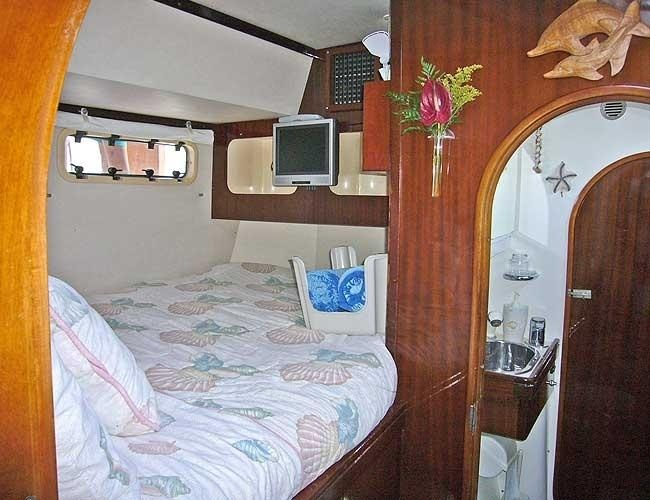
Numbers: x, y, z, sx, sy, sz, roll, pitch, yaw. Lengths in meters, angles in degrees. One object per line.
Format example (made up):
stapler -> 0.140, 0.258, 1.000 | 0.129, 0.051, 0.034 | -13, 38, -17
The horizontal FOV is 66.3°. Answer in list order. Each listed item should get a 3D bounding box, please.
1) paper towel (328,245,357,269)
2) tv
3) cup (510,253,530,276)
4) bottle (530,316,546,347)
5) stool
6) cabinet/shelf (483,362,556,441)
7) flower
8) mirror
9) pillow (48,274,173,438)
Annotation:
paper towel -> 0.128, 0.064, 3.591 | 0.140, 0.207, 0.175 | 1, -16, -14
tv -> -0.142, -0.807, 4.073 | 0.532, 0.539, 0.192 | 2, 6, 28
cup -> 1.176, 0.087, 3.012 | 0.089, 0.168, 0.094 | -3, 15, 1
bottle -> 1.277, 0.492, 3.007 | 0.094, 0.161, 0.201 | 1, 1, 24
stool -> 0.021, 0.315, 3.134 | 0.446, 0.537, 0.706 | -2, 1, -7
cabinet/shelf -> 0.970, 0.786, 2.574 | 0.373, 0.280, 0.567 | 2, 2, 30
flower -> 0.499, -0.564, 2.317 | 0.434, 0.628, 0.164 | 1, 1, 18
mirror -> -1.695, -0.809, 4.446 | 0.073, 0.457, 1.225 | 1, 1, 40
pillow -> -0.679, 0.376, 1.554 | 0.139, 0.488, 0.434 | -24, 19, -7
